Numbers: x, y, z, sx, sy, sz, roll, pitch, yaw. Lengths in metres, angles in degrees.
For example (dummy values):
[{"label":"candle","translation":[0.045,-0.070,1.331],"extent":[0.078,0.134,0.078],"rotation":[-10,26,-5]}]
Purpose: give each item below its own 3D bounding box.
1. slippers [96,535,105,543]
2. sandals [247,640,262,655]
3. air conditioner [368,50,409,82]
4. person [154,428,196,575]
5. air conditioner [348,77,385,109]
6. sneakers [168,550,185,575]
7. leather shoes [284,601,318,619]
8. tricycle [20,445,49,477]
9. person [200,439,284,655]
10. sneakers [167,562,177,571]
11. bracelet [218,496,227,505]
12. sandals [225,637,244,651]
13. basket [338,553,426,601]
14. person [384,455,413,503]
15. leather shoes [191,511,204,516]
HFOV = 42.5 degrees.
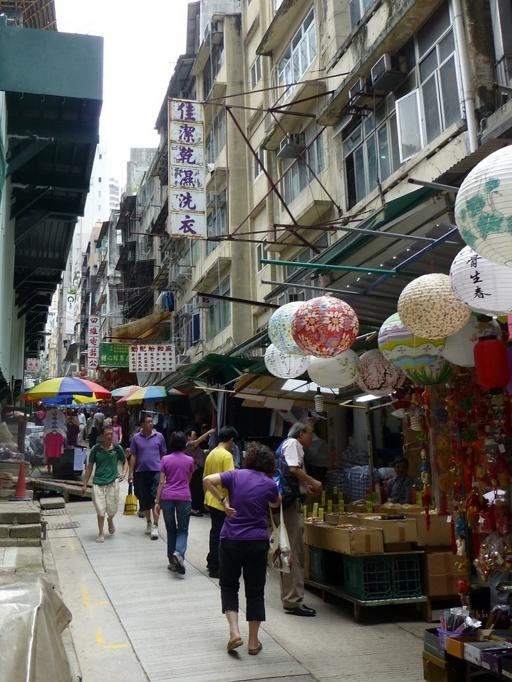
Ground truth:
[{"label":"slippers","translation":[-2.178,2.814,9.328],"extent":[0.073,0.140,0.200],"rotation":[3,-31,-6]},{"label":"sandals","translation":[-0.007,2.275,4.879],"extent":[0.069,0.080,0.196],"rotation":[-1,-19,4]},{"label":"air conditioner","translation":[2.152,-4.370,10.611],"extent":[0.423,0.383,0.585],"rotation":[10,-17,-14]},{"label":"person","translation":[-0.959,1.898,7.767],"extent":[0.419,1.593,1.246],"rotation":[2,-8,-7]},{"label":"air conditioner","translation":[1.880,-4.201,11.341],"extent":[0.375,0.435,0.671],"rotation":[-2,2,-9]},{"label":"sneakers","translation":[-0.876,2.468,7.334],"extent":[0.123,0.140,0.324],"rotation":[6,-46,29]},{"label":"leather shoes","translation":[0.410,2.484,6.076],"extent":[0.319,0.127,0.110],"rotation":[-7,-10,20]},{"label":"tricycle","translation":[-5.993,3.280,17.884],"extent":[0.590,1.010,1.696],"rotation":[6,-12,-21]},{"label":"person","translation":[-0.114,1.572,5.069],"extent":[0.597,1.530,0.430],"rotation":[2,-8,-4]},{"label":"sneakers","translation":[-0.969,2.606,7.589],"extent":[0.057,0.108,0.160],"rotation":[6,-18,-21]},{"label":"bracelet","translation":[-0.250,1.196,4.959],"extent":[0.047,0.068,0.065],"rotation":[1,-16,-6]},{"label":"sandals","translation":[-0.156,2.239,4.849],"extent":[0.076,0.086,0.189],"rotation":[13,-42,-17]},{"label":"basket","translation":[1.170,2.074,5.803],"extent":[0.509,0.291,0.494],"rotation":[-1,-11,9]},{"label":"person","translation":[1.884,1.822,8.621],"extent":[0.324,0.739,0.252],"rotation":[-25,-50,35]},{"label":"leather shoes","translation":[-1.098,3.264,12.448],"extent":[0.246,0.085,0.090],"rotation":[-5,-6,40]}]
